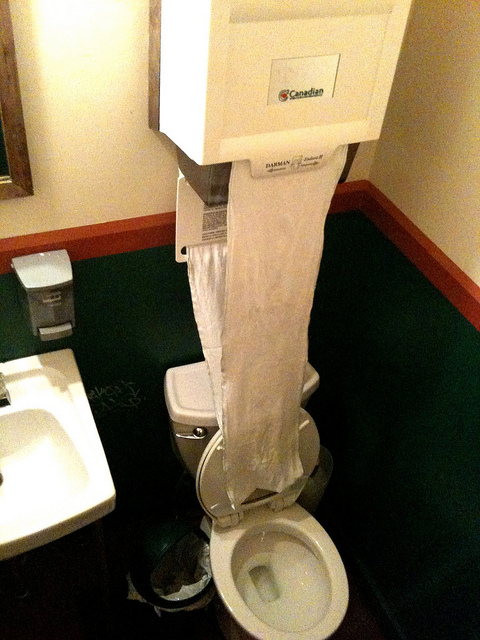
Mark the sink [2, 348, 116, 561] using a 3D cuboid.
[{"bbox_3d":[-0.420,0.304,1.100,0.277,0.434,0.165,-16,2,-22],"label":"sink"}]

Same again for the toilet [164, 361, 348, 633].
[{"bbox_3d":[0.034,0.537,1.442,0.341,0.686,0.666,-14,48,-12],"label":"toilet"}]
